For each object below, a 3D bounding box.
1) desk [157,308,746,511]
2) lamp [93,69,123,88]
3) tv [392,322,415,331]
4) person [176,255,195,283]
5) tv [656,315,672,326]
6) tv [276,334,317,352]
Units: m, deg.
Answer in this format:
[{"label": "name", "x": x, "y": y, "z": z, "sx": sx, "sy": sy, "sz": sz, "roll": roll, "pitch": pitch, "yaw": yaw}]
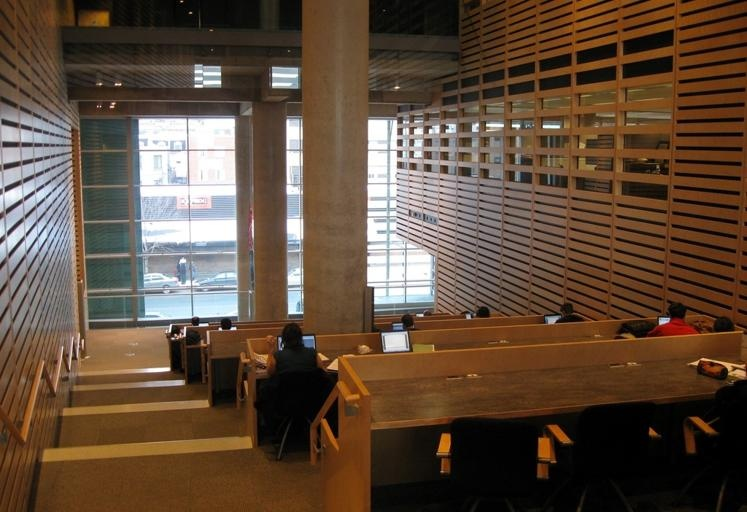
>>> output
[{"label": "desk", "x": 1.573, "y": 1.563, "z": 5.729, "sx": 4.061, "sy": 1.434, "sz": 1.195, "roll": -5, "pitch": 6, "yaw": -15}, {"label": "lamp", "x": -5.843, "y": -3.878, "z": 13.055, "sx": 0.441, "sy": 0.413, "sz": 0.398, "roll": -3, "pitch": 8, "yaw": -27}, {"label": "tv", "x": 0.415, "y": 0.975, "z": 8.163, "sx": 0.189, "sy": 0.076, "sz": 0.255, "roll": 0, "pitch": -1, "yaw": -7}, {"label": "person", "x": -6.996, "y": 0.546, "z": 22.112, "sx": 0.640, "sy": 1.045, "sz": 0.238, "roll": -6, "pitch": 6, "yaw": -19}, {"label": "tv", "x": 3.886, "y": 0.871, "z": 7.953, "sx": 0.293, "sy": 0.148, "sz": 0.260, "roll": -2, "pitch": 1, "yaw": 21}, {"label": "tv", "x": -0.906, "y": 1.058, "z": 7.355, "sx": 0.385, "sy": 0.228, "sz": 0.267, "roll": 0, "pitch": 3, "yaw": -23}]
